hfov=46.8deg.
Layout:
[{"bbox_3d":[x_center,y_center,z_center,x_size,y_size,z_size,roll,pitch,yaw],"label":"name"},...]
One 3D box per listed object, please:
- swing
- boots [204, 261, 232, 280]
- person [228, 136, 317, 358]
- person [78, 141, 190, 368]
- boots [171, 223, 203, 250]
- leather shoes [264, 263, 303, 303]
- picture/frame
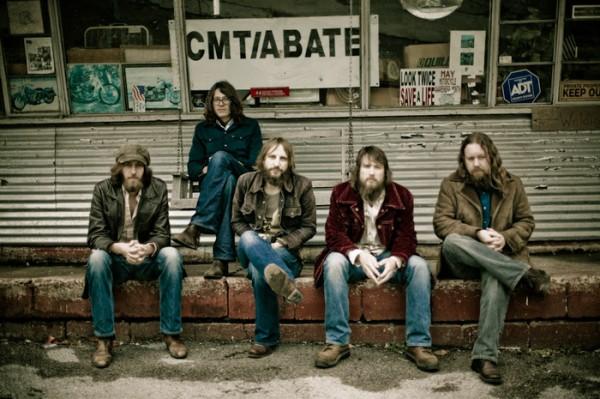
[{"bbox_3d":[-0.401,-1.230,8.978,2.909,2.556,1.034,0,6,4],"label":"swing"},{"bbox_3d":[-0.967,0.811,8.121,0.312,0.201,0.190,-6,13,-19],"label":"boots"},{"bbox_3d":[-0.296,0.510,7.993,1.120,2.309,1.381,1,-1,-5],"label":"person"},{"bbox_3d":[-1.887,0.571,7.792,1.144,2.298,0.885,-4,13,-10],"label":"person"},{"bbox_3d":[-1.342,0.418,8.190,0.286,0.293,0.758,3,-9,13],"label":"boots"},{"bbox_3d":[-0.184,0.890,7.555,0.257,0.561,0.238,-45,10,-5],"label":"leather shoes"},{"bbox_3d":[-2.029,-1.500,9.466,0.795,0.675,0.461,-4,8,-14],"label":"picture/frame"}]
